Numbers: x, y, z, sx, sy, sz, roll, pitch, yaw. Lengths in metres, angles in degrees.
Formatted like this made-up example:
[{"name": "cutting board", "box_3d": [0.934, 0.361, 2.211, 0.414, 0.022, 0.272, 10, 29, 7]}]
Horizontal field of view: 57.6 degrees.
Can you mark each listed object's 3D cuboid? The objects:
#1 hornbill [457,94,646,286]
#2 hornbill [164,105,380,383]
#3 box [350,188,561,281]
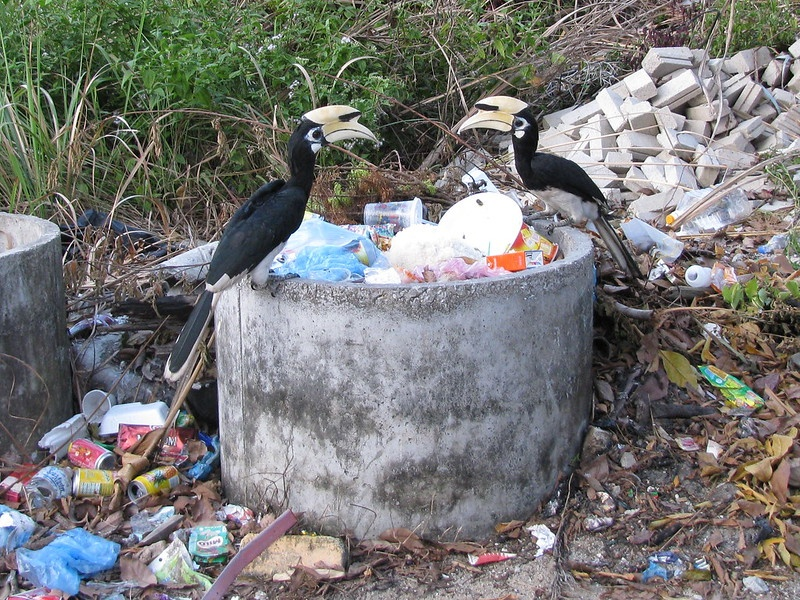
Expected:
[{"name": "hornbill", "box_3d": [0.869, -0.637, 4.099, 0.984, 0.945, 0.311, 1, 5, -7]}, {"name": "hornbill", "box_3d": [-0.613, -0.273, 3.254, 0.402, 1.036, 1.070, 24, 36, 32]}, {"name": "box", "box_3d": [0.300, -0.255, 3.527, 0.679, 0.244, 1.038, 29, 39, 36]}]
